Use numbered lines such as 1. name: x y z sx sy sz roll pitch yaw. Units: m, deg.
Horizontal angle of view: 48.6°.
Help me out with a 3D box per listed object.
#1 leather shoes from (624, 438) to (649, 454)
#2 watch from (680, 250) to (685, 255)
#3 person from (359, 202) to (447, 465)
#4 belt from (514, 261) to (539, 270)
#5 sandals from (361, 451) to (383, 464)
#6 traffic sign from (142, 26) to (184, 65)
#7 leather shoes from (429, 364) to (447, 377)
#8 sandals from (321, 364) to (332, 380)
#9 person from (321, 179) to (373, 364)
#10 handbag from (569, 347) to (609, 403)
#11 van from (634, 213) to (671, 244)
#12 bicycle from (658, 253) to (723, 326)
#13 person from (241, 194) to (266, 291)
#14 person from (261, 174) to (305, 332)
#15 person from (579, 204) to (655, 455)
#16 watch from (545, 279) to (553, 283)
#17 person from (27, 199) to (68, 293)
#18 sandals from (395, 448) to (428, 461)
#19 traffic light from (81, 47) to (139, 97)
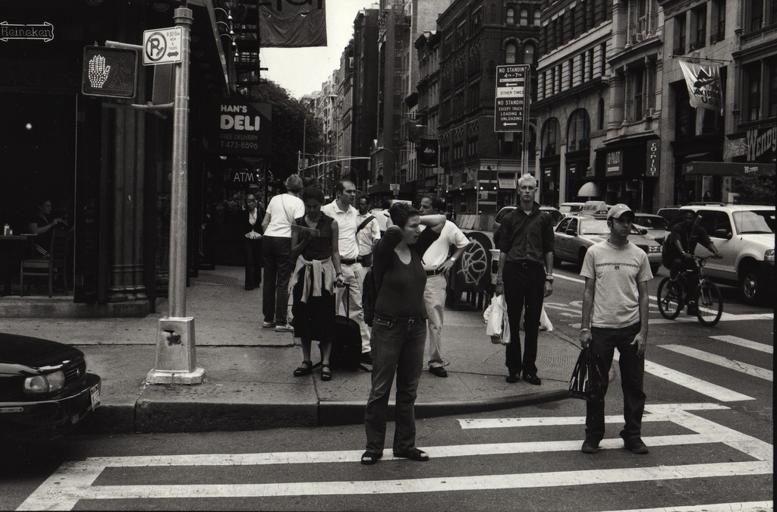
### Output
1. leather shoes: 3.381 2.598 11.690 0.319 0.188 0.168 3 14 6
2. watch: 6.525 -0.052 19.032 0.076 0.037 0.111 3 16 10
3. person: 0.033 1.032 11.706 1.090 3.174 1.278 -1 -1 -10
4. belt: 2.213 0.154 13.635 0.336 0.132 0.043 3 14 7
5. sandals: -0.214 2.676 11.320 0.277 0.134 0.127 5 -3 -21
6. traffic sign: -3.431 -3.189 13.106 0.744 0.600 0.035 -1 -1 27
7. leather shoes: 0.801 1.890 14.004 0.120 0.146 0.327 -2 0 -36
8. sandals: -0.987 1.841 13.457 0.195 0.236 0.578 0 -2 -6
9. person: -0.505 0.187 14.483 0.826 2.822 1.112 0 1 -23
10. handbag: 2.730 1.626 11.706 0.496 0.621 0.376 5 14 13
11. van: 8.561 -0.838 27.838 0.994 0.877 2.272 0 1 -5
12. bicycle: 6.617 0.915 19.019 0.896 1.242 1.923 2 0 -20
13. person: -3.262 -0.327 20.612 0.587 2.243 0.668 0 -1 22
14. person: -2.069 -0.053 15.993 0.951 2.991 1.040 0 0 -4
15. person: 3.153 1.009 11.910 0.953 3.357 0.670 1 -6 18
16. watch: 2.556 0.399 13.686 0.106 0.043 0.115 2 3 18
17. person: -7.031 -0.267 17.568 0.901 2.190 0.762 -1 0 -15
18. sandals: 0.308 2.648 11.472 0.407 0.172 0.170 -1 3 11
19. traffic light: -4.480 -2.892 13.862 0.572 1.076 1.232 1 1 -25
